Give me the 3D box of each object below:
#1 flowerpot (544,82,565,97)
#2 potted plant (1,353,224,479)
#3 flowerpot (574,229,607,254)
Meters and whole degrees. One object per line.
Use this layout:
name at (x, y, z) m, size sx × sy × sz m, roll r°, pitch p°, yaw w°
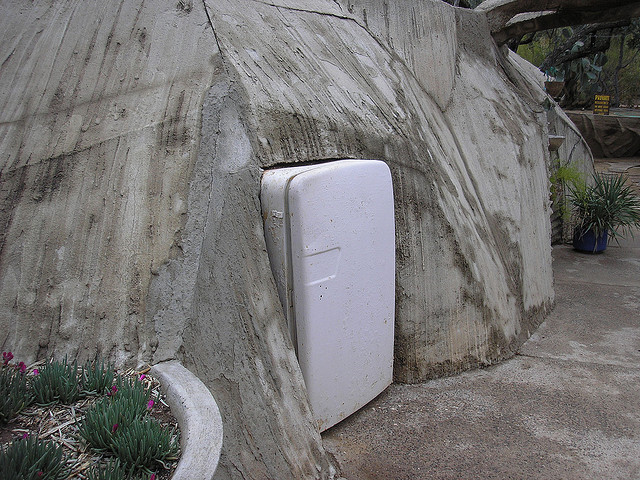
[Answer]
flowerpot at (3.426, -2.219, 6.557) m, size 0.215 × 0.190 × 0.200 m, roll 0°, pitch 4°, yaw 14°
potted plant at (-0.821, 0.690, 1.716) m, size 0.682 × 0.343 × 0.469 m, roll -1°, pitch 16°, yaw -31°
flowerpot at (3.667, 0.031, 6.098) m, size 0.323 × 0.275 × 0.331 m, roll -5°, pitch 7°, yaw -32°
